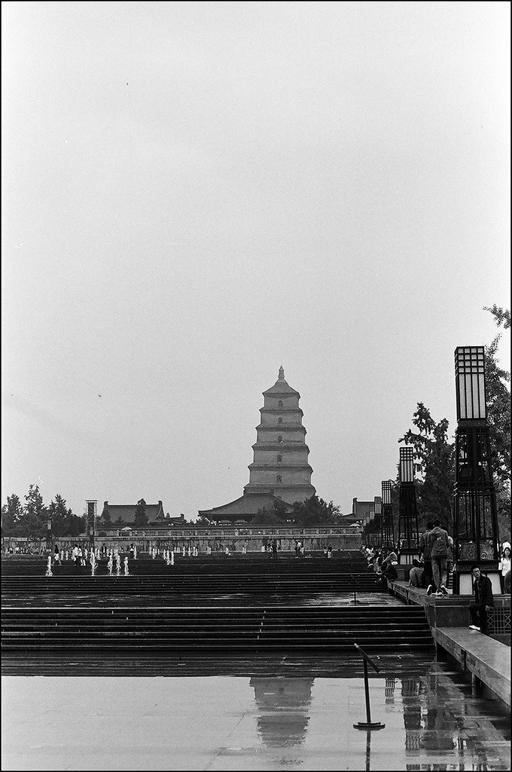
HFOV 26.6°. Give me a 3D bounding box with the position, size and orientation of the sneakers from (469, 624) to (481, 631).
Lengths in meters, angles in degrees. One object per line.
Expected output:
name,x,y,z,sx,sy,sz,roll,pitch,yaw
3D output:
sneakers,2.703,2.967,13.339,0.058,0.059,0.128,4,7,-7
